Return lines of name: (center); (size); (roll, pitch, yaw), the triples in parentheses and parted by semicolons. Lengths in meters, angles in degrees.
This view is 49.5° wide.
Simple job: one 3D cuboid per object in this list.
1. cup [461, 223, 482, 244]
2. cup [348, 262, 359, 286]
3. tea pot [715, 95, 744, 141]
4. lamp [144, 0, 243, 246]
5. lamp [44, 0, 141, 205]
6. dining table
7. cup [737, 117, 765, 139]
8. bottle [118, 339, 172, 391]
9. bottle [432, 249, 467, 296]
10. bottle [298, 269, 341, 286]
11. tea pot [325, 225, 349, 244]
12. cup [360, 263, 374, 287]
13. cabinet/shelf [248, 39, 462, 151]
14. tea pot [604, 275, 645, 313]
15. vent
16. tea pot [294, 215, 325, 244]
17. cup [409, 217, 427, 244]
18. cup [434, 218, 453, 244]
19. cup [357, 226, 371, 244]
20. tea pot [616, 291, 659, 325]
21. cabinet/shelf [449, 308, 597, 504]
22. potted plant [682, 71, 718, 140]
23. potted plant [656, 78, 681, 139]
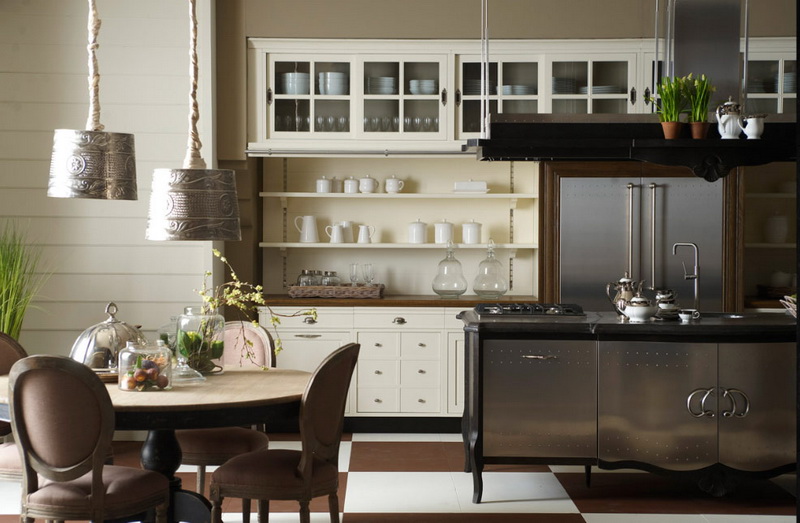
cup: (0.648, -0.256, 7.835); (0.159, 0.167, 0.190); (1, -3, -32)
cup: (-0.413, 0.110, 7.852); (0.086, 0.185, 0.234); (-1, 15, -4)
tea pot: (2.445, -1.037, 6.423); (0.194, 0.259, 0.214); (0, 15, 0)
lamp: (-1.303, -0.805, 5.290); (0.552, 1.378, 0.326); (-5, 16, -16)
lamp: (-1.896, -0.952, 5.229); (0.506, 1.194, 0.236); (-4, 16, -15)
dining table: (-1.453, 1.120, 5.369); (1.149, 0.607, 1.136); (0, -4, -1)
cup: (2.596, -0.980, 6.386); (0.191, 0.178, 0.128); (0, 1, 15)
bottle: (-1.606, 0.650, 5.476); (0.309, 0.251, 0.307); (3, -4, -28)
bottle: (0.443, 0.088, 7.758); (0.287, 0.427, 0.187); (0, 15, 2)
bottle: (-0.731, 0.154, 7.766); (0.260, 0.114, 0.155); (0, -2, -9)
tea pot: (-0.569, -0.243, 7.881); (0.216, 0.183, 0.134); (0, 1, -5)
cup: (-0.293, 0.120, 7.804); (0.158, 0.248, 0.160); (0, 1, 0)
cabinet/shelf: (-0.410, -1.430, 7.460); (1.795, 0.906, 0.471); (-3, 15, -10)
tea pot: (1.790, 0.255, 6.838); (0.295, 0.301, 0.188); (-1, -4, 20)
vent: (1.812, -1.312, 6.604); (2.355, 1.316, 0.900); (1, 15, 4)
tea pot: (-0.835, -0.287, 7.861); (0.235, 0.254, 0.383); (-2, 15, -7)
cup: (0.142, -0.251, 7.803); (0.153, 0.193, 0.194); (0, -4, -3)
cup: (0.396, -0.255, 7.822); (0.205, 0.200, 0.155); (-1, 1, -19)
cup: (-0.325, -0.242, 7.850); (0.158, 0.153, 0.121); (2, -5, -15)
tea pot: (1.774, 0.360, 6.404); (0.265, 0.167, 0.269); (0, 15, 0)
cabinet/shelf: (1.034, 1.056, 6.721); (1.277, 1.479, 1.179); (0, 4, 1)
potted plant: (2.214, -1.142, 6.450); (0.198, 0.448, 0.268); (6, 16, 23)
potted plant: (2.034, -1.082, 6.459); (0.170, 0.371, 0.152); (-6, 10, -23)
